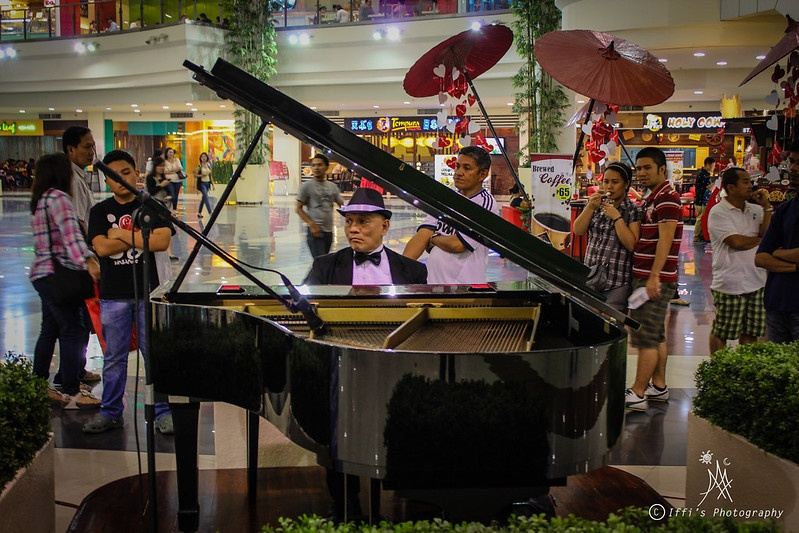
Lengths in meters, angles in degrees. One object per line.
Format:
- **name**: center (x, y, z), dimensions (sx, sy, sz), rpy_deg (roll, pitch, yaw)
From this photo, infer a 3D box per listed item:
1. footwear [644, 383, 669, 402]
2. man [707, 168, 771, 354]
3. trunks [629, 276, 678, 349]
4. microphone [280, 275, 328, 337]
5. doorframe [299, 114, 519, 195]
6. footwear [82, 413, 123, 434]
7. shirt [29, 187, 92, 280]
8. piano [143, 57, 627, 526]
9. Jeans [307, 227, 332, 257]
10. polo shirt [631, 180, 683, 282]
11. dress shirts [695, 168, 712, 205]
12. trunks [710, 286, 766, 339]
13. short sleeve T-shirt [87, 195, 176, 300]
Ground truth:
- **footwear**: center (2.239, 1.118, 5.837), dimensions (0.227, 0.109, 0.100), rpy_deg (5, 1, 0)
- **man**: center (3.035, 0.101, 5.885), dimensions (0.471, 1.806, 0.454), rpy_deg (-2, 6, 11)
- **trunks**: center (2.103, 0.411, 5.530), dimensions (0.332, 0.583, 0.274), rpy_deg (3, 8, 22)
- **microphone**: center (-0.591, 0.264, 4.193), dimensions (0.123, 0.383, 0.105), rpy_deg (-10, 40, 41)
- **doorframe**: center (0.421, -2.334, 13.015), dimensions (4.749, 1.852, 1.446), rpy_deg (3, 7, 16)
- **footwear**: center (-2.341, 1.246, 5.274), dimensions (0.254, 0.118, 0.125), rpy_deg (9, -10, -40)
- **shirt**: center (-2.707, -0.251, 5.340), dimensions (0.658, 0.626, 0.333), rpy_deg (4, 11, 41)
- **piano**: center (0.004, 0.196, 4.635), dimensions (2.948, 2.984, 2.258), rpy_deg (0, 2, -9)
- **Jeans**: center (-0.908, -0.287, 7.656), dimensions (0.122, 0.466, 0.339), rpy_deg (-11, -7, 33)
- **polo shirt**: center (2.159, -0.282, 5.517), dimensions (0.411, 0.803, 0.325), rpy_deg (-4, 9, -29)
- **dress shirts**: center (6.596, -1.667, 14.399), dimensions (0.288, 0.661, 0.422), rpy_deg (2, -3, 8)
- **trunks**: center (3.035, 0.351, 5.938), dimensions (0.463, 0.515, 0.287), rpy_deg (-4, 17, 19)
- **short sleeve T-shirt**: center (-1.953, -0.117, 4.821), dimensions (0.743, 0.931, 0.486), rpy_deg (0, 1, -7)
